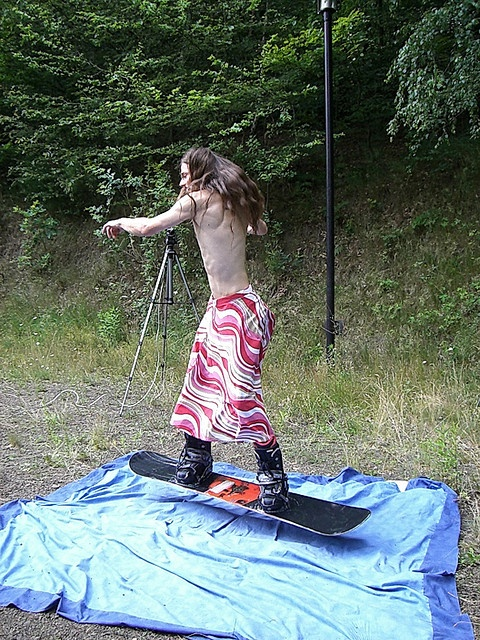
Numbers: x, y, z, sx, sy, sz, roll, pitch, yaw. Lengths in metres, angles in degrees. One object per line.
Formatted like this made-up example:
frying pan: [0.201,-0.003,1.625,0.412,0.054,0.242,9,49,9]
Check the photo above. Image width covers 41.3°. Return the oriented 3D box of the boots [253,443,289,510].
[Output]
boots: [0.168,0.755,3.122,0.175,0.323,0.164,-3,12,-8]

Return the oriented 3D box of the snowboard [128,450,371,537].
snowboard: [0.036,0.916,3.332,1.645,0.079,0.336,5,14,37]

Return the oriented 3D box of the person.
person: [-0.097,0.035,3.234,0.829,1.771,0.541,4,13,22]

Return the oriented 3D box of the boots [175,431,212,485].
boots: [-0.233,0.738,3.419,0.195,0.186,0.318,9,24,12]
